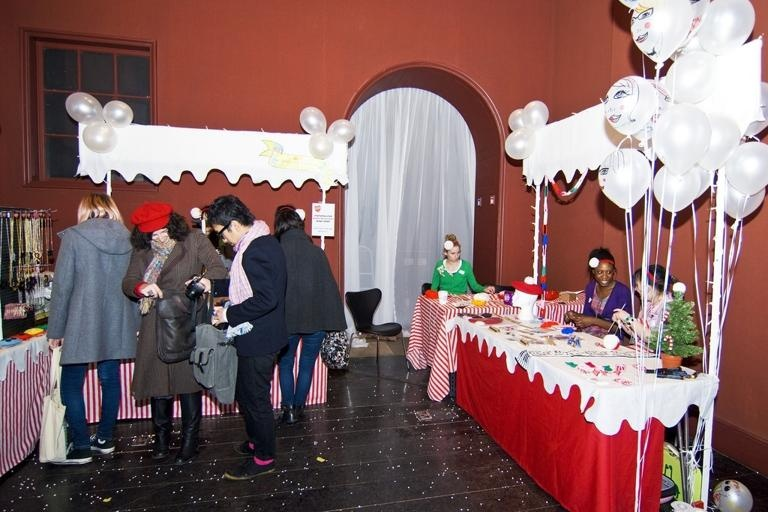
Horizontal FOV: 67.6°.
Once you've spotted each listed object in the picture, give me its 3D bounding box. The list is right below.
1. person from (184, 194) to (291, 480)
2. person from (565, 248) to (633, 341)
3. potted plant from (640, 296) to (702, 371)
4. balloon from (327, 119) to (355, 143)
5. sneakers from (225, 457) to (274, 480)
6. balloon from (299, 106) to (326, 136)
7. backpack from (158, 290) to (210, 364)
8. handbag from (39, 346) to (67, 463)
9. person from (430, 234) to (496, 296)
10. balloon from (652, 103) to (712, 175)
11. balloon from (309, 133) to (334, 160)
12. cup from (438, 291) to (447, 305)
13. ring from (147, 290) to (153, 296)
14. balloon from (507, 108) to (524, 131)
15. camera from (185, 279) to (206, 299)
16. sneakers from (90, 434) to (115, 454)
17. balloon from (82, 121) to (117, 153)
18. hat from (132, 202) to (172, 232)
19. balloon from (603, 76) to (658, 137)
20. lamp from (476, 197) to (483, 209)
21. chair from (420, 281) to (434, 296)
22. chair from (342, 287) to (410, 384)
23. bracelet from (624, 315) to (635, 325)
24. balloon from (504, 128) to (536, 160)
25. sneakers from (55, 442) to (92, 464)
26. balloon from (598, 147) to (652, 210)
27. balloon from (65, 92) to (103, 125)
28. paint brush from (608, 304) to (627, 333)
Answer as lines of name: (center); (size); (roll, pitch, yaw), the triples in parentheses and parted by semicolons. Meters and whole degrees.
person: (-1.045, 0.653, 4.508); (0.532, 2.267, 0.367); (2, 5, 26)
person: (1.983, 0.383, 5.374); (0.547, 0.896, 0.660); (4, 10, 31)
potted plant: (2.138, 0.542, 4.238); (0.340, 0.526, 0.223); (2, 5, 25)
balloon: (-0.487, -1.388, 6.320); (0.209, 0.245, 0.274); (-19, 18, -42)
sneakers: (-1.077, 1.693, 4.675); (0.328, 0.157, 0.164); (3, -3, -18)
balloon: (-0.785, -1.529, 6.397); (0.364, 0.350, 0.235); (4, 7, 43)
backpack: (-1.583, 0.561, 4.505); (0.259, 0.530, 0.486); (6, 7, 36)
handbag: (-2.703, 1.223, 4.678); (0.272, 0.966, 0.141); (1, 5, 19)
person: (0.809, 0.147, 6.415); (0.756, 0.738, 0.518); (-3, 11, 3)
balloon: (2.162, -0.843, 4.193); (0.342, 0.515, 0.289); (8, 11, 21)
balloon: (-0.671, -1.206, 6.195); (0.228, 0.306, 0.238); (-8, 14, -28)
cup: (0.614, 0.425, 5.957); (0.098, 0.128, 0.105); (0, 0, 0)
ring: (-1.834, 0.287, 4.525); (0.052, 0.050, 0.020); (-2, 5, -17)
balloon: (1.439, -1.555, 6.332); (0.141, 0.274, 0.249); (6, -12, 27)
camera: (-1.477, 0.250, 4.537); (0.134, 0.121, 0.133); (21, 52, 11)
sneakers: (-2.404, 1.595, 4.896); (0.236, 0.120, 0.094); (8, 5, 26)
balloon: (-2.840, -1.205, 5.730); (0.286, 0.290, 0.159); (0, 5, 3)
hat: (-1.846, -0.316, 4.606); (0.292, 0.236, 0.155); (-2, 5, -20)
balloon: (1.904, -1.252, 4.536); (0.397, 0.551, 0.441); (-2, 19, 15)
lamp: (1.297, -0.744, 7.812); (0.058, 0.233, 0.159); (1, 0, -10)
chair: (0.502, 0.374, 6.887); (0.107, 0.167, 0.128); (4, -4, -31)
chair: (-0.048, 0.802, 6.795); (0.636, 0.886, 1.117); (1, 5, 16)
bracelet: (1.935, 0.505, 4.551); (0.042, 0.058, 0.026); (5, -19, 3)
balloon: (1.464, -1.208, 6.224); (0.220, 0.257, 0.316); (2, 32, 24)
sneakers: (-2.557, 1.646, 4.786); (0.296, 0.152, 0.119); (5, -8, -9)
balloon: (1.894, -0.604, 4.595); (0.438, 0.627, 0.425); (-9, 8, -43)
balloon: (-2.928, -1.488, 5.637); (0.251, 0.263, 0.327); (41, -20, -27)
paint brush: (2.011, 0.536, 4.957); (0.092, 0.221, 0.151); (8, -22, -13)
